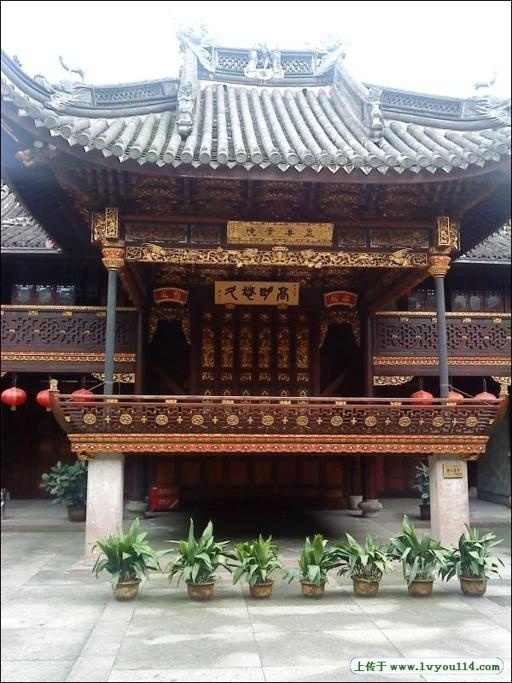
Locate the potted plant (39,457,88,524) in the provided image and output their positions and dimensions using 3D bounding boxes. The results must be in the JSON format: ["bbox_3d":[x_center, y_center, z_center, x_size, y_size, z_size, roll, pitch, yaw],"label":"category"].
[{"bbox_3d":[-3.622,2.913,12.239,0.728,1.143,0.565,4,-11,-13],"label":"potted plant"}]

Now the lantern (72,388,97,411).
[{"bbox_3d":[-2.568,0.887,9.526,0.367,0.335,0.359,12,-14,-41],"label":"lantern"}]

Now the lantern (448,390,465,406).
[{"bbox_3d":[3.084,0.895,9.812,0.223,0.245,0.992,-2,-10,16],"label":"lantern"}]
